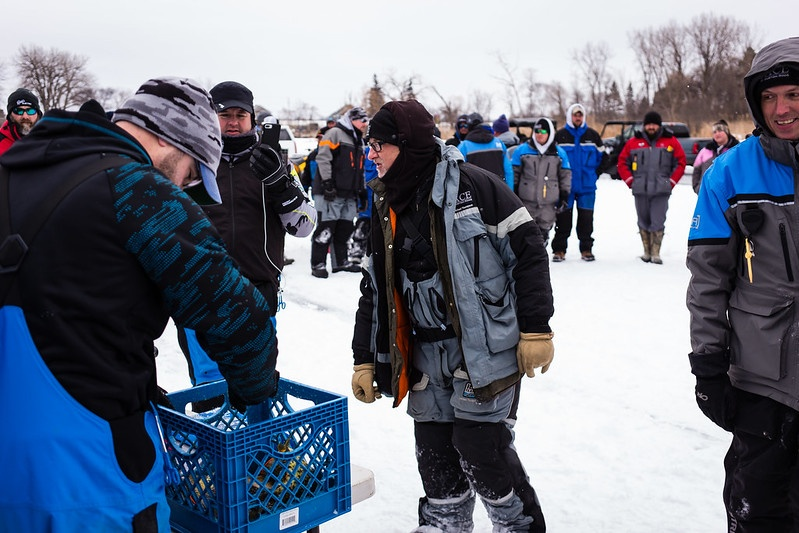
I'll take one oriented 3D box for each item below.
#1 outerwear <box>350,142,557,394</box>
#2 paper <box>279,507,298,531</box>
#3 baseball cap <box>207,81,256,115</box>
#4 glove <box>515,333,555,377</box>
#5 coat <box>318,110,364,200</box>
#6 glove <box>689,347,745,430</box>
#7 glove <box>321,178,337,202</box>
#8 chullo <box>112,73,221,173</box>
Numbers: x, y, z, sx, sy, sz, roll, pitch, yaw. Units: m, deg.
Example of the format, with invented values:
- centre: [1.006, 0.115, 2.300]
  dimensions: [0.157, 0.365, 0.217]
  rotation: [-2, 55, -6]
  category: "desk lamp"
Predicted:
- centre: [0.258, 0.089, 3.500]
  dimensions: [1.145, 1.427, 0.525]
  rotation: [2, 14, 13]
  category: "outerwear"
- centre: [-0.502, 1.144, 2.886]
  dimensions: [0.083, 0.059, 0.079]
  rotation: [2, -6, -43]
  category: "paper"
- centre: [-1.216, -1.220, 4.531]
  dimensions: [0.327, 0.230, 0.437]
  rotation: [-3, 12, -28]
  category: "baseball cap"
- centre: [0.726, 0.461, 3.484]
  dimensions: [0.201, 0.237, 0.101]
  rotation: [0, 19, 4]
  category: "glove"
- centre: [-0.895, -1.801, 9.996]
  dimensions: [0.678, 1.257, 0.995]
  rotation: [14, 14, 21]
  category: "coat"
- centre: [1.625, 0.636, 3.306]
  dimensions: [0.217, 0.397, 0.232]
  rotation: [-4, -6, -16]
  category: "glove"
- centre: [-1.065, -1.176, 9.572]
  dimensions: [0.098, 0.268, 0.191]
  rotation: [-5, 4, 18]
  category: "glove"
- centre: [-0.962, -0.615, 2.699]
  dimensions: [0.453, 0.397, 0.336]
  rotation: [7, 8, -37]
  category: "chullo"
